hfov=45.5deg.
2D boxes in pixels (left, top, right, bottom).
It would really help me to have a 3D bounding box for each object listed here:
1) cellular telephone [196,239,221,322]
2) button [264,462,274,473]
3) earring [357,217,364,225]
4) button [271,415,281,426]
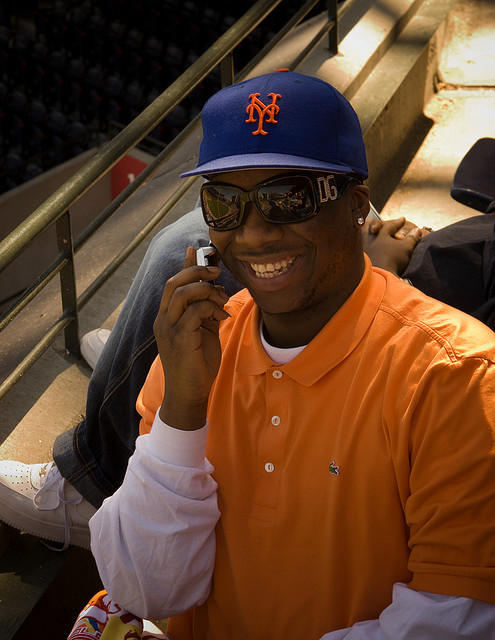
[{"bbox_3d":[-0.090,-0.139,1.412,0.038,0.144,0.151,-4,-19,-8],"label":"cellular telephone"},{"bbox_3d":[0.044,0.296,1.200,0.019,0.017,0.005,-6,-7,35],"label":"button"},{"bbox_3d":[0.239,-0.208,1.248,0.007,0.013,0.027,24,28,27],"label":"earring"},{"bbox_3d":[0.057,0.204,1.214,0.019,0.018,0.005,2,-4,32],"label":"button"}]
